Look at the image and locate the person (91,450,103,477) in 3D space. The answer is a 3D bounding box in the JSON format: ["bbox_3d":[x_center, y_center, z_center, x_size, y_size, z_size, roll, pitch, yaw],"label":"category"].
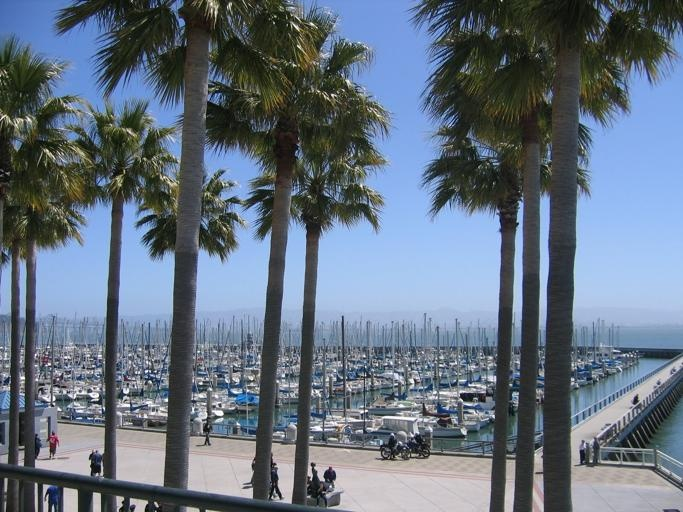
[{"bbox_3d":[-10.405,8.799,33.349,0.521,1.000,1.669,2,-8,-18],"label":"person"}]

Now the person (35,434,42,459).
[{"bbox_3d":[-14.899,9.358,38.707,0.254,1.285,2.892,2,-8,-19],"label":"person"}]

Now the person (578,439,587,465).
[{"bbox_3d":[12.084,9.818,39.575,0.333,1.080,1.671,-1,-8,16],"label":"person"}]

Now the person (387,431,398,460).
[{"bbox_3d":[2.570,9.926,41.089,0.652,1.111,1.888,0,-8,5],"label":"person"}]

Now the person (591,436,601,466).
[{"bbox_3d":[12.517,9.606,38.916,0.348,1.252,0.531,-2,-7,17],"label":"person"}]

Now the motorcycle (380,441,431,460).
[{"bbox_3d":[3.281,10.183,40.798,1.963,1.323,1.056,-4,-3,5],"label":"motorcycle"}]
